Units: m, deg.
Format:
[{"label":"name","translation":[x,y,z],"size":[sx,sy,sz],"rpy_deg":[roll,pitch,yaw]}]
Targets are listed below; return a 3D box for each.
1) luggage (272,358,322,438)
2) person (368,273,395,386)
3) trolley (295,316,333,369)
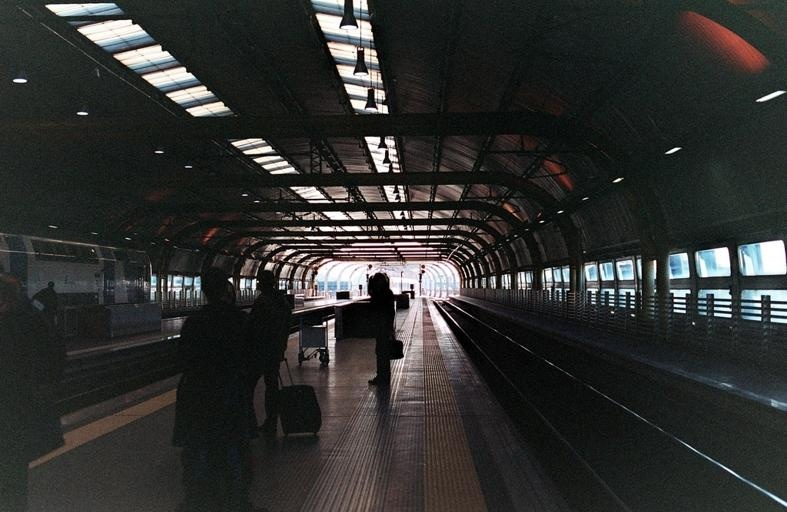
[{"label":"luggage","translation":[-1.752,2.674,9.068],"size":[1.012,1.554,1.005],"rpy_deg":[-5,-2,-3]},{"label":"person","translation":[-0.270,1.712,11.033],"size":[0.562,2.693,1.353],"rpy_deg":[0,-5,-2]},{"label":"trolley","translation":[-2.401,2.716,14.760],"size":[0.975,0.873,0.871],"rpy_deg":[-16,-9,-16]}]
